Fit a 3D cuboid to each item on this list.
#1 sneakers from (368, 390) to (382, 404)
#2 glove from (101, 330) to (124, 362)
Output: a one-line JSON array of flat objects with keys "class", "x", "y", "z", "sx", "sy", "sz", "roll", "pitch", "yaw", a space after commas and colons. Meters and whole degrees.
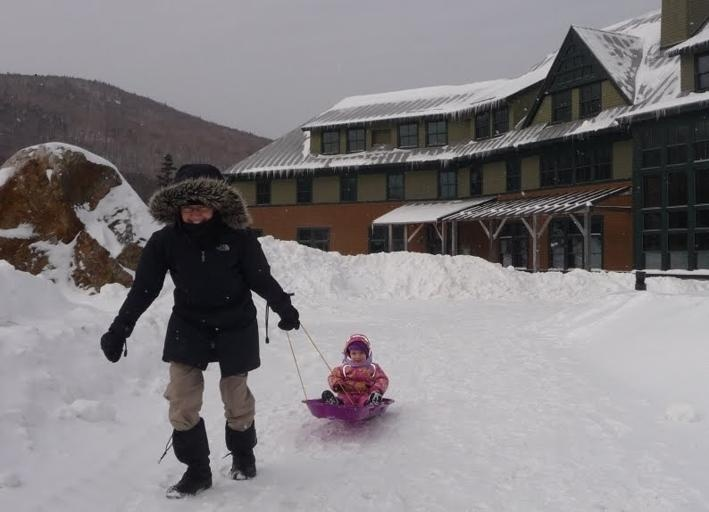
[{"class": "sneakers", "x": 0.350, "y": 2.378, "z": 14.681, "sx": 0.161, "sy": 0.151, "sz": 0.197, "roll": -3, "pitch": -7, "yaw": 17}, {"class": "glove", "x": -3.601, "y": 1.353, "z": 13.084, "sx": 0.327, "sy": 0.492, "sz": 0.185, "roll": 8, "pitch": 8, "yaw": -18}]
